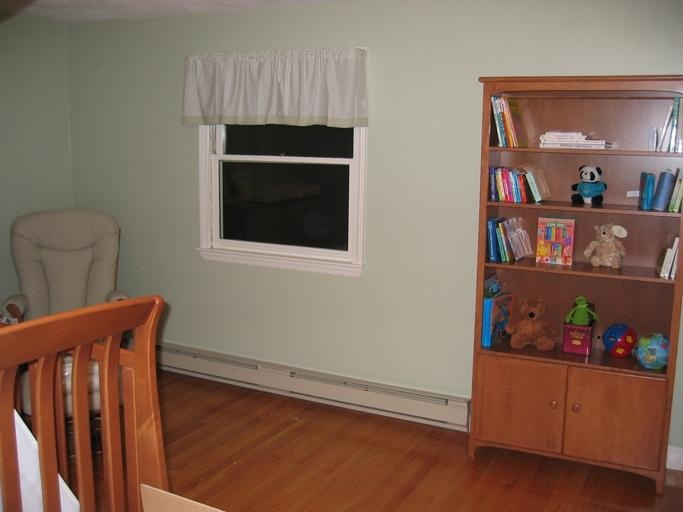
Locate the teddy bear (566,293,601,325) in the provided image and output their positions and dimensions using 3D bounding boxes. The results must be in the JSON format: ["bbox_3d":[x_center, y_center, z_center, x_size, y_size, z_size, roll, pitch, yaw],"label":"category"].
[{"bbox_3d":[1.474,0.324,3.315,0.153,0.182,0.093,-2,-24,38],"label":"teddy bear"}]

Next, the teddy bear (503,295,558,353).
[{"bbox_3d":[1.187,0.427,3.424,0.303,0.318,0.252,9,16,33],"label":"teddy bear"}]

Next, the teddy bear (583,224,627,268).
[{"bbox_3d":[1.564,-0.060,3.227,0.237,0.264,0.148,1,-4,44],"label":"teddy bear"}]

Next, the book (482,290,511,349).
[{"bbox_3d":[1.015,0.399,3.482,0.054,0.345,0.381,8,13,38],"label":"book"}]

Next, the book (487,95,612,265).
[{"bbox_3d":[1.050,-0.429,3.017,0.810,0.949,0.220,3,-1,0],"label":"book"}]
